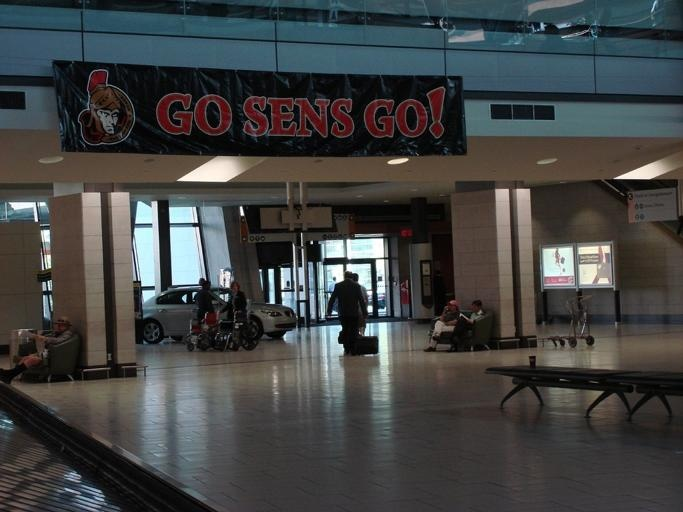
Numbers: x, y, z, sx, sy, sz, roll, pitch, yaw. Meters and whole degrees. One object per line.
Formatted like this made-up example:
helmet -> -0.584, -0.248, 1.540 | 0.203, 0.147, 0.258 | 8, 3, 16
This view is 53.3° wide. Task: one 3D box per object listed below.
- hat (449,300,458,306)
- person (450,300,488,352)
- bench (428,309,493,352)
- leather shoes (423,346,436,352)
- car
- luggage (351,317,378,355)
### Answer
hat -> 2.429, 1.035, 14.957 | 0.129, 0.094, 0.181 | 5, 5, 36
person -> 2.732, 1.494, 14.691 | 0.789, 1.064, 0.357 | -3, -4, 4
bench -> 2.645, 1.726, 14.771 | 0.925, 0.869, 1.098 | 9, -12, -36
leather shoes -> 1.914, 2.032, 14.775 | 0.192, 0.075, 0.096 | 4, -5, -13
car -> -3.558, 1.667, 19.437 | 4.322, 1.329, 1.767 | -3, -3, 8
luggage -> 0.494, 1.793, 15.106 | 0.627, 1.052, 0.706 | 0, -1, 0
